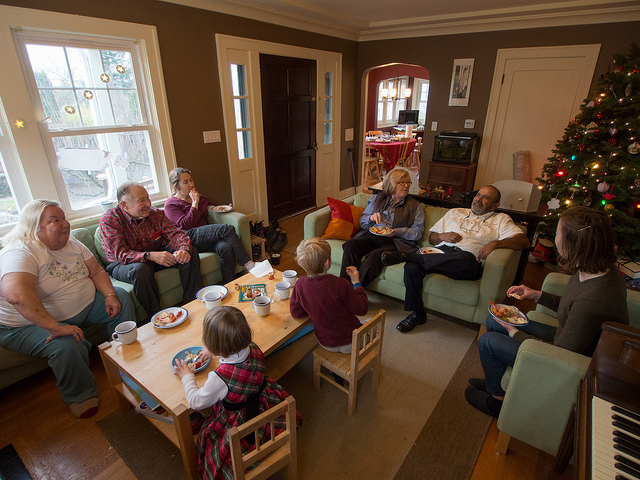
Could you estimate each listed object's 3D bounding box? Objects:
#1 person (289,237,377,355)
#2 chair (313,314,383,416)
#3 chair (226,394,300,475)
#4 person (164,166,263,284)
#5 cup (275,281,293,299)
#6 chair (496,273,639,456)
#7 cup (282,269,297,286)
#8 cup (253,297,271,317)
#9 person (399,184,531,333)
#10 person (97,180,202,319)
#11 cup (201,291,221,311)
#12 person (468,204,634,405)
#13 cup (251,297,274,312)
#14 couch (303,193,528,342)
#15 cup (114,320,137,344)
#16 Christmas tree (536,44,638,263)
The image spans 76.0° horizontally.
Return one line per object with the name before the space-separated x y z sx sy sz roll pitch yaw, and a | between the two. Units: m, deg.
person | 0.076 0.368 2.859 0.555 0.803 0.373 10 21 33
chair | 0.199 0.805 2.907 0.468 0.686 0.486 5 22 6
chair | -0.334 1.085 2.272 0.265 0.508 0.267 -22 46 -31
person | -1.061 -0.118 4.078 0.844 1.239 0.516 1 20 25
cup | -0.273 0.381 3.125 0.127 0.101 0.105 -3 18 -6
chair | 1.393 0.731 2.297 0.501 0.622 0.899 17 57 35
cup | -0.252 0.304 3.271 0.104 0.086 0.107 0 20 0
cup | -0.417 0.478 2.944 0.104 0.110 0.136 2 15 8
person | 1.234 0.136 3.649 0.955 1.383 0.787 10 2 -16
person | -1.472 0.139 3.615 0.672 1.239 0.819 -20 24 -40
cup | -0.803 0.447 3.041 0.135 0.109 0.108 -2 22 -5
person | 1.430 0.464 2.647 0.745 1.374 0.651 -2 18 -1
cup | -0.425 0.484 3.020 0.133 0.097 0.084 0 17 14
couch | 0.871 0.146 4.087 1.977 1.006 0.905 14 22 34
cup | -1.292 0.604 2.752 0.156 0.129 0.128 -1 12 -19
Christmas tree | 2.734 -0.830 3.987 0.594 1.935 1.027 -14 21 -32
